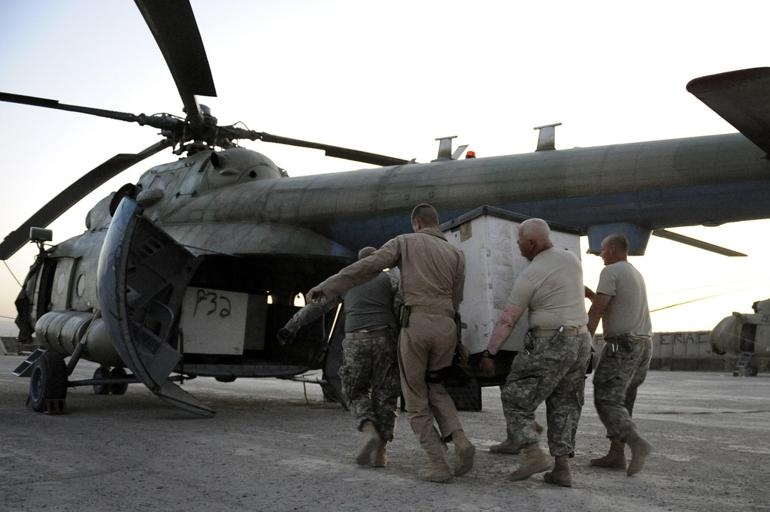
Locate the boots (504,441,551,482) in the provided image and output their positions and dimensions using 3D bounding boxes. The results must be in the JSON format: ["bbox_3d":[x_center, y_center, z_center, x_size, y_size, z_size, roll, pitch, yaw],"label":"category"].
[{"bbox_3d":[1.410,1.962,5.778,0.374,0.385,0.336,-6,-12,37],"label":"boots"}]

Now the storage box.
[{"bbox_3d":[1.416,0.248,7.216,1.508,1.242,1.192,6,-12,-38],"label":"storage box"}]

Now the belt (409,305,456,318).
[{"bbox_3d":[0.501,0.550,6.041,0.534,0.107,0.135,5,-10,-20],"label":"belt"}]

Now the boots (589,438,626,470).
[{"bbox_3d":[2.360,2.080,6.405,0.364,0.324,0.340,-2,-10,18],"label":"boots"}]

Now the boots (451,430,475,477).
[{"bbox_3d":[0.772,1.935,5.963,0.204,0.446,0.429,1,-10,7],"label":"boots"}]

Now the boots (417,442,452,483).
[{"bbox_3d":[0.487,2.005,5.865,0.174,0.342,0.370,20,-34,-39],"label":"boots"}]

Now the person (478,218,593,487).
[{"bbox_3d":[1.541,0.888,6.001,1.046,2.618,0.427,1,-10,4],"label":"person"}]

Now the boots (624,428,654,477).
[{"bbox_3d":[2.560,1.989,6.132,0.223,0.446,0.275,-1,-10,13],"label":"boots"}]
